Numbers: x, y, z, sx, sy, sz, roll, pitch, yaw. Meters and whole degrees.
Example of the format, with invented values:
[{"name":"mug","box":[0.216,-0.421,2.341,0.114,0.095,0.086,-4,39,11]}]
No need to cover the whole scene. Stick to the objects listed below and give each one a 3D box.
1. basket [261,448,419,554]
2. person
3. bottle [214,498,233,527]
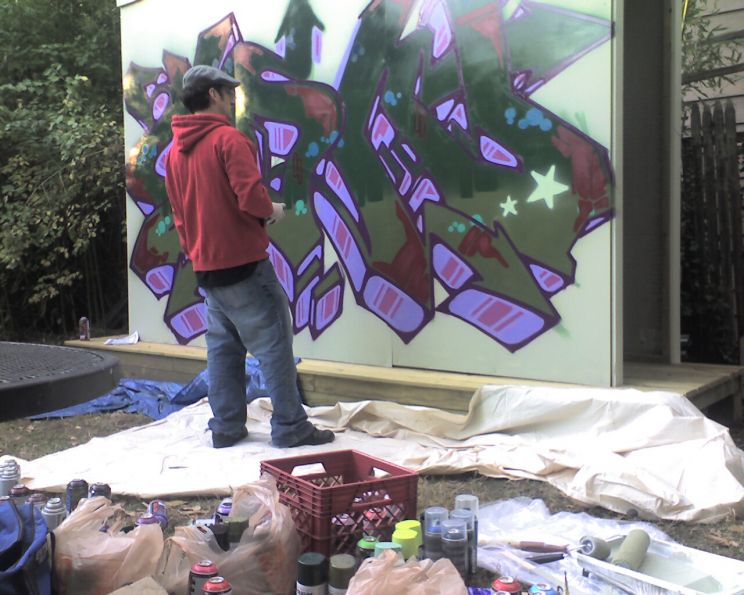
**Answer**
[{"name":"basket","box":[-0.149,0.840,3.320,0.521,0.460,0.433,-1,1,-41]},{"name":"person","box":[-0.802,-0.197,4.613,0.766,2.306,0.673,-3,6,22]},{"name":"bottle","box":[-0.633,0.908,3.275,0.057,0.032,0.108,2,30,-2]}]
